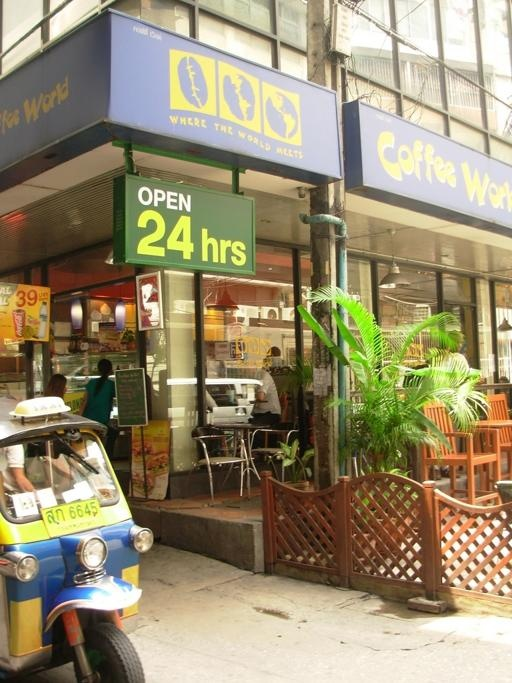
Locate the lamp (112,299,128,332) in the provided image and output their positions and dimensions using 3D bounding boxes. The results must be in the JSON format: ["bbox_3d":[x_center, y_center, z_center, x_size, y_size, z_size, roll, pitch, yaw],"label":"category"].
[{"bbox_3d":[-1.979,-0.364,8.640,0.107,0.463,0.327,-1,-6,-32],"label":"lamp"}]

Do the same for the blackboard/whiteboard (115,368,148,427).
[{"bbox_3d":[-1.461,0.661,6.958,0.042,0.864,0.647,4,-11,-42],"label":"blackboard/whiteboard"}]

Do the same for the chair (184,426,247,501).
[{"bbox_3d":[-0.440,1.485,7.301,0.662,0.875,1.381,-4,-5,-2],"label":"chair"}]

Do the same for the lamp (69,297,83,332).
[{"bbox_3d":[-3.017,-0.436,9.909,0.106,0.547,0.440,-1,-7,-34],"label":"lamp"}]

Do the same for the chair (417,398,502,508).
[{"bbox_3d":[2.603,1.523,7.845,0.640,1.120,1.531,-1,-9,-9],"label":"chair"}]

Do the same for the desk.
[{"bbox_3d":[-0.327,1.472,7.594,0.959,0.895,0.863,-5,-16,4],"label":"desk"}]
